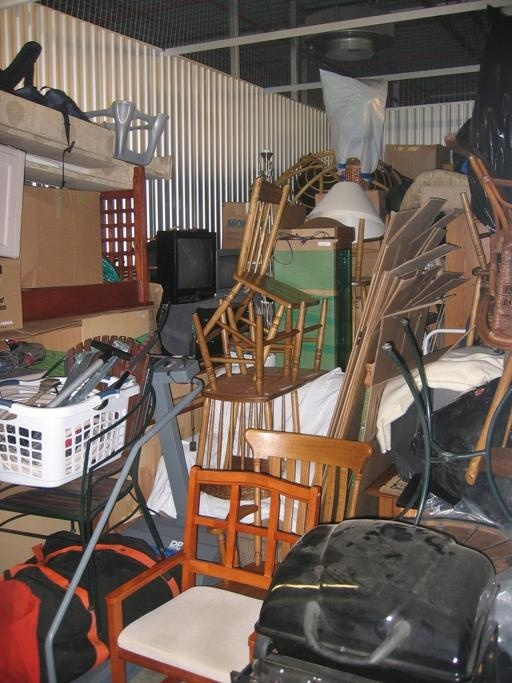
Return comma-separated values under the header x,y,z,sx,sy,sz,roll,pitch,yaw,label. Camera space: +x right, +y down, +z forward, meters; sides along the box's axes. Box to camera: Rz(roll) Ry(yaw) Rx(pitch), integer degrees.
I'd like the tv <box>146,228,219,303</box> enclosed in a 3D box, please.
x,y,z,sx,sy,sz,roll,pitch,yaw,label
-0.534,-0.536,3.911,0.357,0.533,0.639,4,10,19,tv
